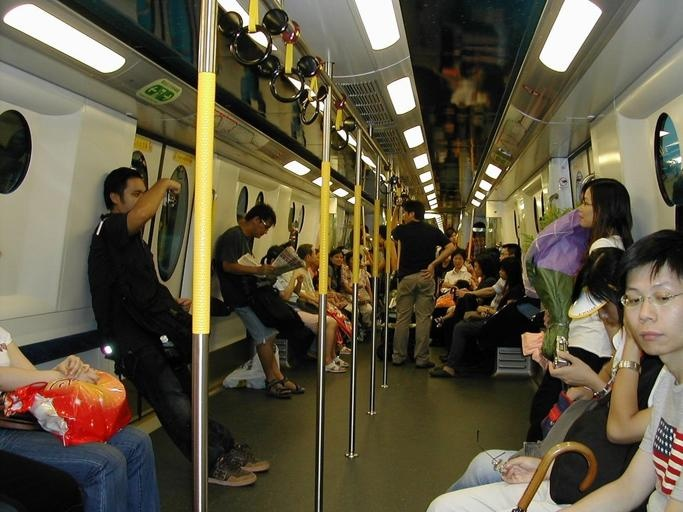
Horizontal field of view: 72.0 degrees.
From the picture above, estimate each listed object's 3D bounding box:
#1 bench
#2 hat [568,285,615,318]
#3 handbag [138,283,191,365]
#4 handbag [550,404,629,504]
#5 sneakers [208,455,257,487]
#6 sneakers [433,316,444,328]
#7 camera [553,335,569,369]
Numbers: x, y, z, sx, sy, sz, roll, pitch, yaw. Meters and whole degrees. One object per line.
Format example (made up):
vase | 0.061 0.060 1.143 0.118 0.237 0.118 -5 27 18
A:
bench | -1.349 0.948 3.926 0.199 0.369 1.559 -17 11 12
hat | 1.702 0.321 3.256 0.158 0.132 0.234 -18 -11 7
handbag | -1.368 0.505 3.726 0.222 0.542 0.395 -19 32 -30
handbag | 1.131 0.931 2.163 0.300 0.485 0.271 2 1 -3
sneakers | -0.910 1.767 3.939 0.443 0.218 0.171 -1 -2 11
sneakers | 2.011 1.346 9.665 0.194 0.258 0.598 -2 -11 7
camera | 1.371 0.601 2.928 0.054 0.177 0.120 9 -3 -8
